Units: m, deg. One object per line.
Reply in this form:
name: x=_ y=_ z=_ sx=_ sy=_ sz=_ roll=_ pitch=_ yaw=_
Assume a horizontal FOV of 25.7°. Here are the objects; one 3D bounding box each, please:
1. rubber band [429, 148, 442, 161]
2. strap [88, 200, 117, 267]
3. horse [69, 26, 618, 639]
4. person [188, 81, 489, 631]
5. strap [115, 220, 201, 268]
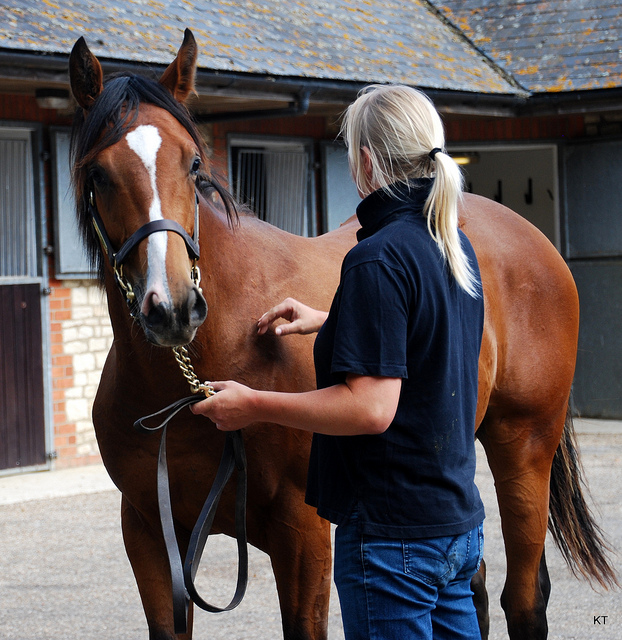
rubber band: x=0.461 y=-0.626 z=5.092 sx=0.038 sy=0.018 sz=0.046 roll=-1 pitch=-41 yaw=-2
strap: x=-0.833 y=-0.354 z=5.529 sx=0.150 sy=0.228 sz=0.054 roll=-20 pitch=-6 yaw=14
horse: x=0.195 y=0.122 z=6.289 sx=2.574 sy=2.877 sz=1.541 roll=-5 pitch=11 yaw=-18
person: x=0.216 y=0.150 z=5.137 sx=0.850 sy=2.024 sz=0.570 roll=0 pitch=10 yaw=7
strap: x=-0.611 y=-0.305 z=5.371 sx=0.329 sy=0.193 sz=0.150 roll=-3 pitch=11 yaw=-9
